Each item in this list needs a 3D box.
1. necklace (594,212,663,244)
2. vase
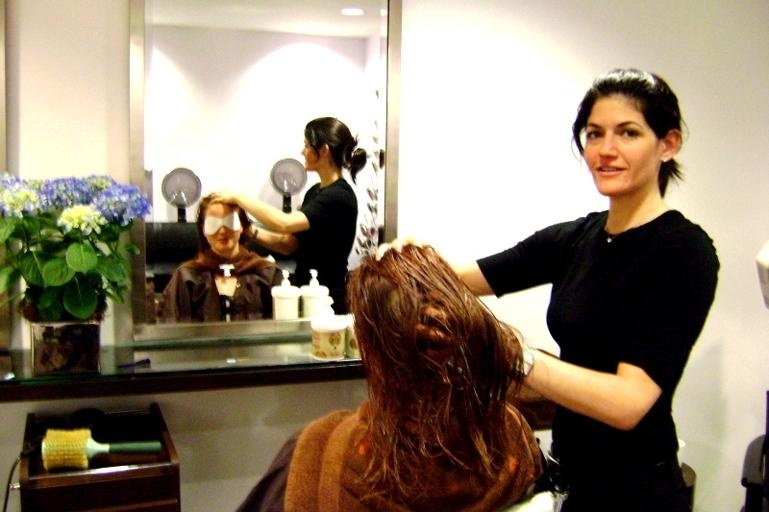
[{"bbox_3d":[0.772,-0.091,2.060,0.105,0.039,0.151,-24,-3,-3],"label":"necklace"},{"bbox_3d":[-1.139,0.322,2.243,0.205,0.180,0.202,1,0,-16],"label":"vase"}]
